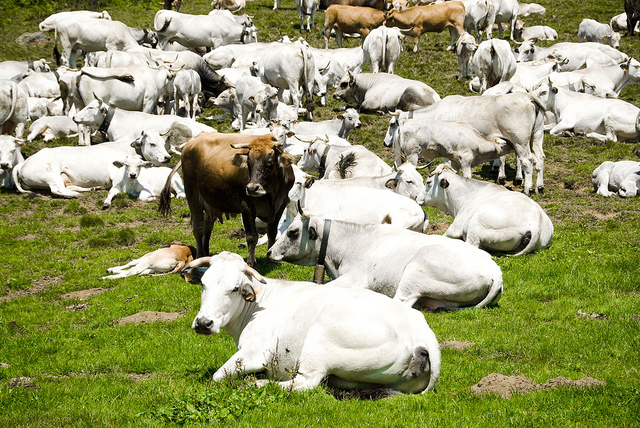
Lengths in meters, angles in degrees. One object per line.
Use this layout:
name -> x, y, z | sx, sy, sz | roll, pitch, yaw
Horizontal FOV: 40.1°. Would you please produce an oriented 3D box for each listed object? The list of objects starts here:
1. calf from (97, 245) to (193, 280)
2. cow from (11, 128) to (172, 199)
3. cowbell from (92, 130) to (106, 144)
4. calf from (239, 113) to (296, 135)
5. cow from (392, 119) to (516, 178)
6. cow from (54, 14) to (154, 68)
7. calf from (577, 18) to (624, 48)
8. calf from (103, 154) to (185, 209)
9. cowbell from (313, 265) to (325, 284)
calf -> -5.292, 1.476, 27.793 | 2.483, 0.891, 0.783 | 0, 8, -8
cow -> -8.881, -1.939, 33.516 | 5.517, 2.540, 1.924 | -2, 9, -19
cowbell -> -9.270, -3.259, 36.984 | 0.426, 0.348, 0.826 | 4, -10, -9
calf -> -1.980, -3.592, 34.463 | 1.135, 1.210, 2.294 | -1, 2, -39
cow -> 4.881, -2.170, 31.876 | 4.524, 2.370, 1.277 | 3, 3, -6
cow -> -10.716, -8.461, 44.248 | 5.352, 2.747, 1.541 | -3, 22, -21
calf -> 15.377, -9.735, 48.563 | 0.977, 1.636, 3.109 | -15, 30, -24
calf -> -6.826, -1.342, 33.141 | 2.342, 1.830, 1.330 | -1, 9, -14
cowbell -> -0.029, 1.680, 24.908 | 0.303, 0.529, 0.544 | 0, 8, -2
